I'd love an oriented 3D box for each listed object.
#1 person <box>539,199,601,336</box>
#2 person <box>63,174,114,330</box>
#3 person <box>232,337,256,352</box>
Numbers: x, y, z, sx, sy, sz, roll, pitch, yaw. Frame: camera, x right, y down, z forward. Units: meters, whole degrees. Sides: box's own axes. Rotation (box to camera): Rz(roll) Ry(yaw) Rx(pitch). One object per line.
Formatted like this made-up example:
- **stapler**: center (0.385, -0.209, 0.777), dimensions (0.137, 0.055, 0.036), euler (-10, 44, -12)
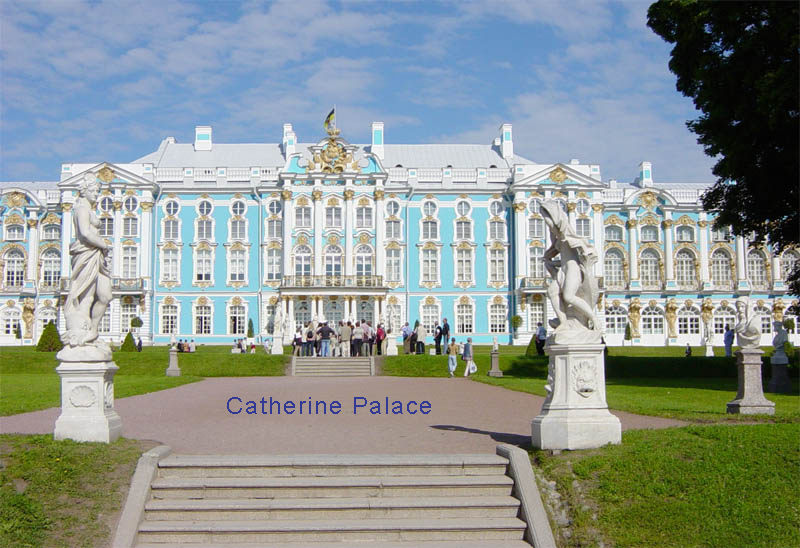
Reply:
- **person**: center (3.789, -0.180, 22.790), dimensions (1.243, 2.862, 1.032), euler (-1, 7, 8)
- **person**: center (-7.239, -0.428, 23.438), dimensions (1.008, 3.487, 1.199), euler (-3, 7, -11)
- **person**: center (-8.556, 3.972, 55.701), dimensions (1.208, 0.496, 1.612), euler (0, -6, -7)
